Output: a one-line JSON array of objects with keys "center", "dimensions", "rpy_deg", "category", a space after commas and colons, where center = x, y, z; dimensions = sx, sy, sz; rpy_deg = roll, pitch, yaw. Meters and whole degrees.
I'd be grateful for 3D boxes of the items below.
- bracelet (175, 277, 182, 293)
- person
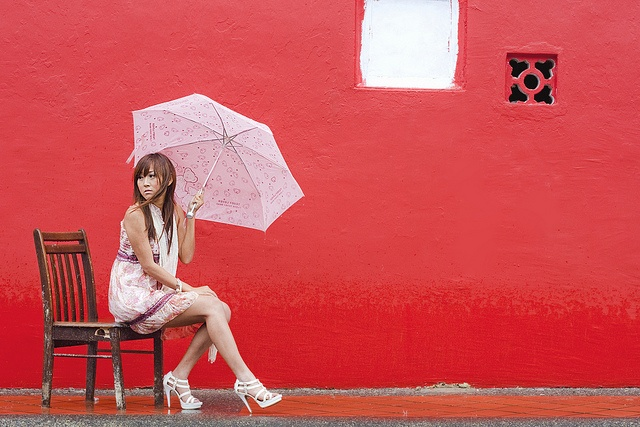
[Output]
[{"center": [-1.219, 0.609, 7.036], "dimensions": [0.037, 0.088, 0.094], "rpy_deg": [3, 1, -5], "category": "bracelet"}, {"center": [-1.205, 0.577, 7.038], "dimensions": [1.196, 1.831, 0.480], "rpy_deg": [2, 1, -6], "category": "person"}]
